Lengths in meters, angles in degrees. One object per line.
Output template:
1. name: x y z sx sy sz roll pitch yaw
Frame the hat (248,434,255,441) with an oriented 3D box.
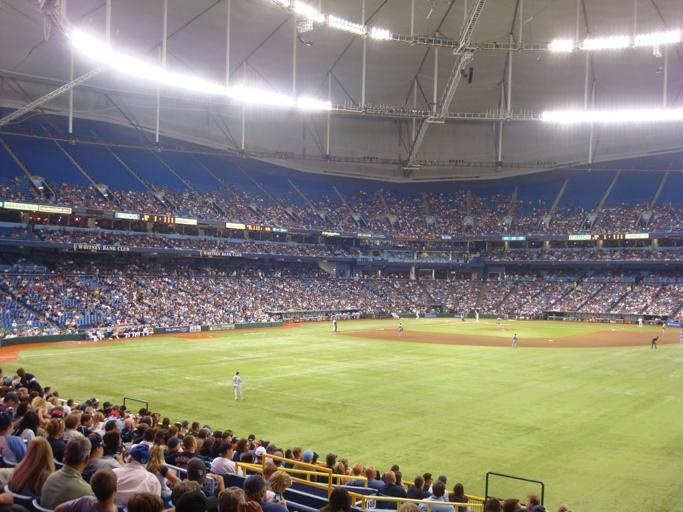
1. hat: -4.668 9.604 38.352 0.410 0.325 0.382 0 3 -19

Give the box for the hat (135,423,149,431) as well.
1. hat: -9.293 7.981 34.154 0.528 0.268 0.514 2 -1 9
